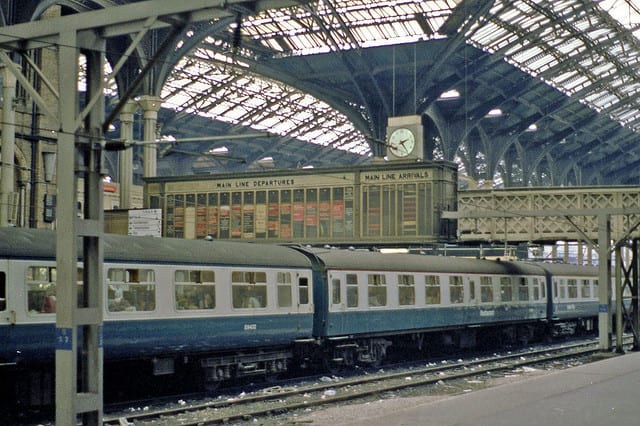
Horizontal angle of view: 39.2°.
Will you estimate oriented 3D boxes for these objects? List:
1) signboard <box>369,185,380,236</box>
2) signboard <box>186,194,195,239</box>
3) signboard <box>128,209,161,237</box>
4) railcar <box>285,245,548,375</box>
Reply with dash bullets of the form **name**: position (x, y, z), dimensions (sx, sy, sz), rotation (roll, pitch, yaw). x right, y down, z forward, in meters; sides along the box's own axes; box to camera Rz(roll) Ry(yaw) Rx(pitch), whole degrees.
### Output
- **signboard**: position (3.096, -0.214, 51.134), dimensions (0.790, 3.016, 0.094), rotation (1, -12, 0)
- **signboard**: position (-7.779, 0.169, 54.230), dimensions (0.687, 2.830, 0.126), rotation (-1, -4, 10)
- **signboard**: position (-8.726, 0.488, 45.121), dimensions (1.376, 1.121, 0.151), rotation (-2, -11, 22)
- **railcar**: position (4.461, 4.454, 42.397), dimensions (4.283, 4.812, 19.070), rotation (-6, -9, 39)
